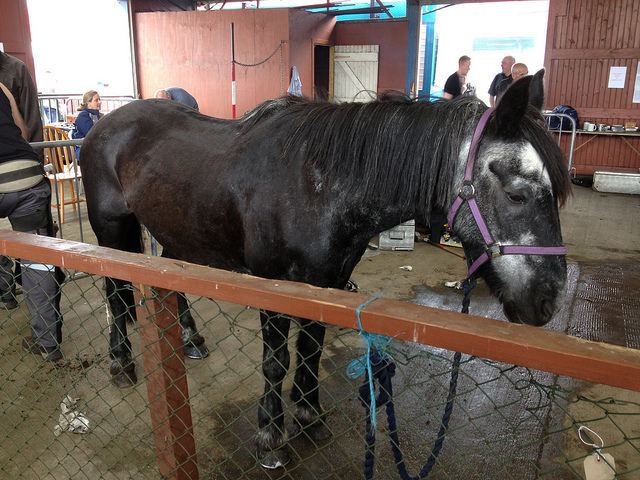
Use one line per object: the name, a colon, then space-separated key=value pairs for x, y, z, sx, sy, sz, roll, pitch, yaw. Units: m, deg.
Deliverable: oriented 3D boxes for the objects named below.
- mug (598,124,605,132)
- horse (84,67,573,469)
mug: x=5.726 y=-2.289 z=9.025 sx=0.114 sy=0.131 sz=0.324 roll=10 pitch=21 yaw=29
horse: x=-0.263 y=0.109 z=2.692 sx=2.934 sy=2.055 sz=0.852 roll=9 pitch=15 yaw=19
